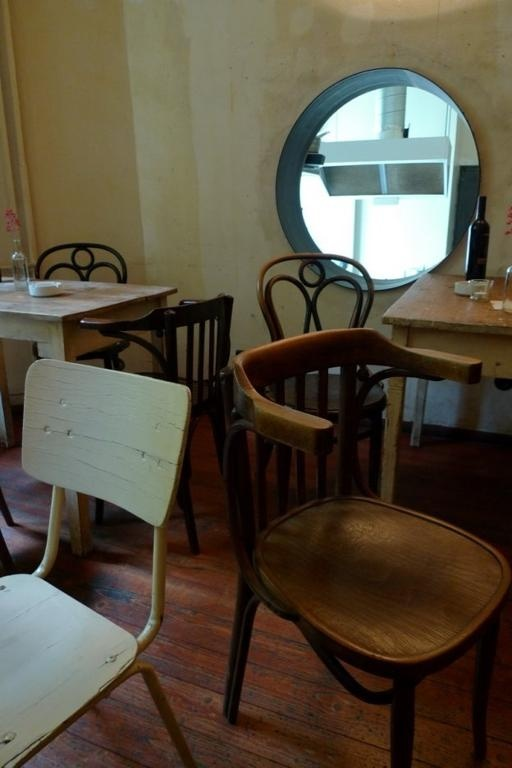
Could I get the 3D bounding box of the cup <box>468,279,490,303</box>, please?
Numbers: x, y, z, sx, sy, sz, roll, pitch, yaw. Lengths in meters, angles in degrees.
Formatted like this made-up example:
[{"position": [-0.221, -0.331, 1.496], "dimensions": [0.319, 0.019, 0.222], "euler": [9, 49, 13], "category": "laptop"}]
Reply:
[{"position": [0.707, -0.285, 1.869], "dimensions": [0.070, 0.063, 0.053], "euler": [-6, 10, -27], "category": "cup"}]
